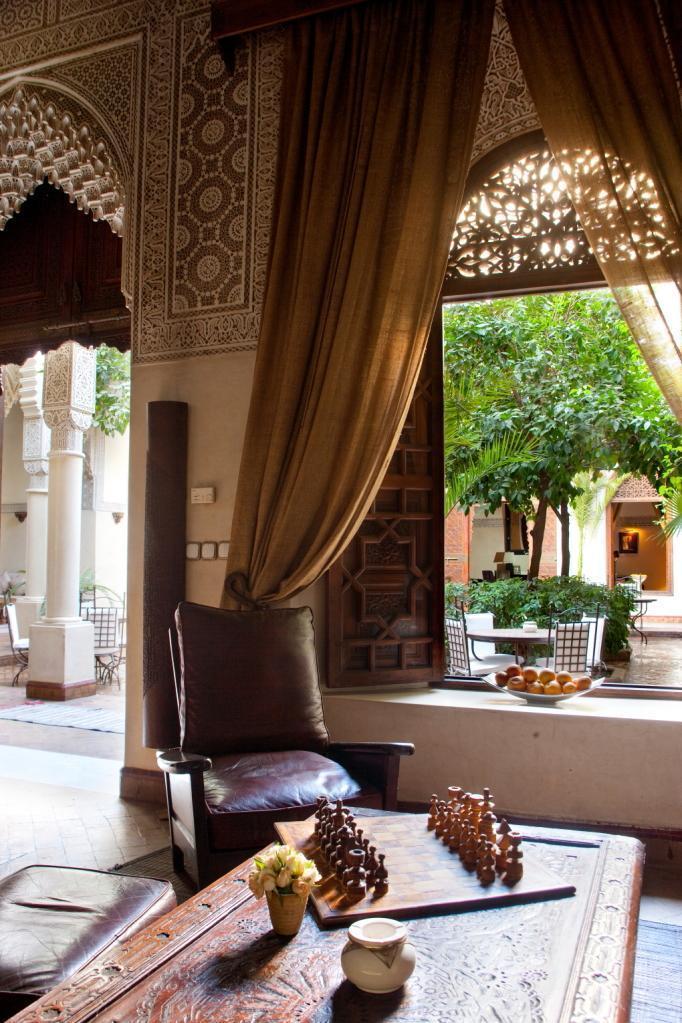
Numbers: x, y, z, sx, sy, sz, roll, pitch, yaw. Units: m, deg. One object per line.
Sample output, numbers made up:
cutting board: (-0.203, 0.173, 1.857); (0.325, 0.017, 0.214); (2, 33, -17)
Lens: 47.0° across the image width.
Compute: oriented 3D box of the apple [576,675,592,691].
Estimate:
apple: (1.019, 0.722, 3.285); (0.048, 0.027, 0.050); (-11, 19, -20)

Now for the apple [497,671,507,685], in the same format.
apple: (0.705, 0.733, 3.442); (0.042, 0.042, 0.050); (-48, 0, 25)

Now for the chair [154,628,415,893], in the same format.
chair: (-0.238, 0.815, 2.650); (0.745, 0.975, 0.611); (3, -6, -26)

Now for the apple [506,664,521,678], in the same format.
apple: (0.752, 0.696, 3.417); (0.045, 0.043, 0.045); (22, 32, 17)

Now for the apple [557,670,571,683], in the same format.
apple: (0.950, 0.707, 3.322); (0.038, 0.039, 0.046); (12, 10, -5)

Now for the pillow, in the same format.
pillow: (-0.331, 0.605, 2.831); (0.513, 0.528, 0.208); (7, -26, -22)

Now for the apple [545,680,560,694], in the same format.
apple: (0.882, 0.728, 3.257); (0.045, 0.048, 0.047); (2, 12, 11)

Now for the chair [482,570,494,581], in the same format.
chair: (2.029, 0.898, 10.772); (0.149, 0.191, 0.138); (2, -7, -17)

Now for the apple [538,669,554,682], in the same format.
apple: (0.868, 0.702, 3.328); (0.043, 0.044, 0.052); (3, 3, -4)

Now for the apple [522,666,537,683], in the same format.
apple: (0.810, 0.706, 3.375); (0.048, 0.057, 0.048); (2, -3, 3)

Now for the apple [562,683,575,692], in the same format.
apple: (0.947, 0.738, 3.261); (0.036, 0.020, 0.036); (-20, -24, 28)

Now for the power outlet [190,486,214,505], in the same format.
power outlet: (-0.690, -0.075, 3.848); (0.120, 0.086, 0.028); (0, 1, 23)

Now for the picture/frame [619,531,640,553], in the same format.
picture/frame: (7.175, 0.784, 19.481); (0.527, 0.609, 0.082); (-1, -6, 41)
